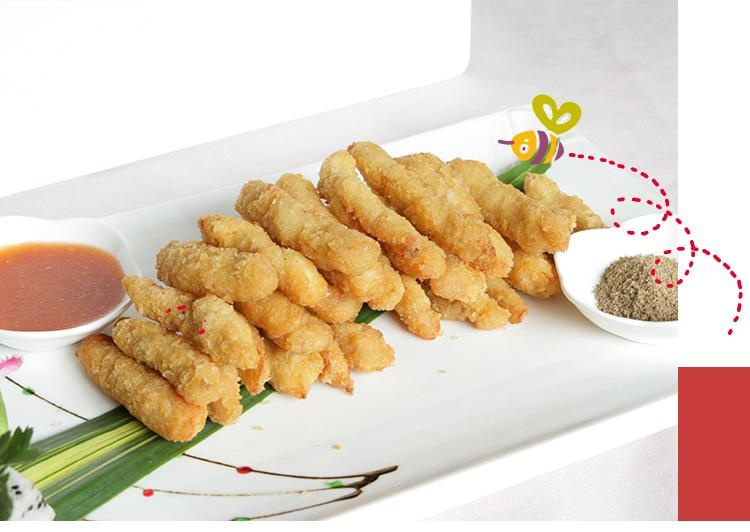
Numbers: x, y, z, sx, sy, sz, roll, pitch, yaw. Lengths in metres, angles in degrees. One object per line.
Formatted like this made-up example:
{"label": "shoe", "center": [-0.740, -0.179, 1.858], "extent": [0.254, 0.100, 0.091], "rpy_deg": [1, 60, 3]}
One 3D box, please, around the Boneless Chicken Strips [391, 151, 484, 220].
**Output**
{"label": "Boneless Chicken Strips", "center": [0.201, -0.274, 1.966], "extent": [0.176, 0.062, 0.278], "rpy_deg": [1, 40, -51]}

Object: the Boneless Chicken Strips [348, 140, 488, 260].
{"label": "Boneless Chicken Strips", "center": [0.143, -0.186, 1.916], "extent": [0.583, 0.154, 0.190], "rpy_deg": [44, 23, 23]}

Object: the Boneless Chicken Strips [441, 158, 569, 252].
{"label": "Boneless Chicken Strips", "center": [0.430, -0.189, 2.037], "extent": [0.181, 0.153, 0.474], "rpy_deg": [-42, 57, -17]}
